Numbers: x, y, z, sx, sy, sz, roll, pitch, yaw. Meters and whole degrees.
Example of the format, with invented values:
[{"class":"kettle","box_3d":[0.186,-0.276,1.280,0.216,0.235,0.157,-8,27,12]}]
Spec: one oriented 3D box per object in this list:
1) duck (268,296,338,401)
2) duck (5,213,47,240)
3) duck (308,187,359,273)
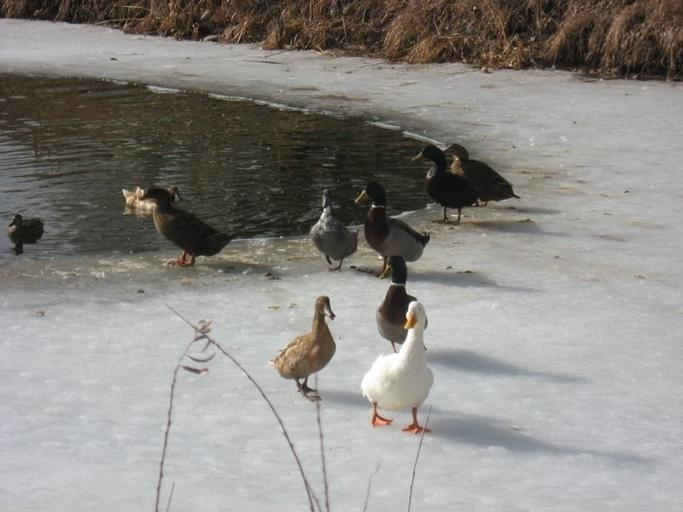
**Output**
[{"class":"duck","box_3d":[-0.369,0.889,10.401,0.571,0.966,0.496,11,24,15]},{"class":"duck","box_3d":[-4.165,-0.378,13.820,0.459,0.299,0.395,-2,21,-16]},{"class":"duck","box_3d":[-0.084,-0.332,12.807,0.541,1.019,0.789,6,22,1]}]
